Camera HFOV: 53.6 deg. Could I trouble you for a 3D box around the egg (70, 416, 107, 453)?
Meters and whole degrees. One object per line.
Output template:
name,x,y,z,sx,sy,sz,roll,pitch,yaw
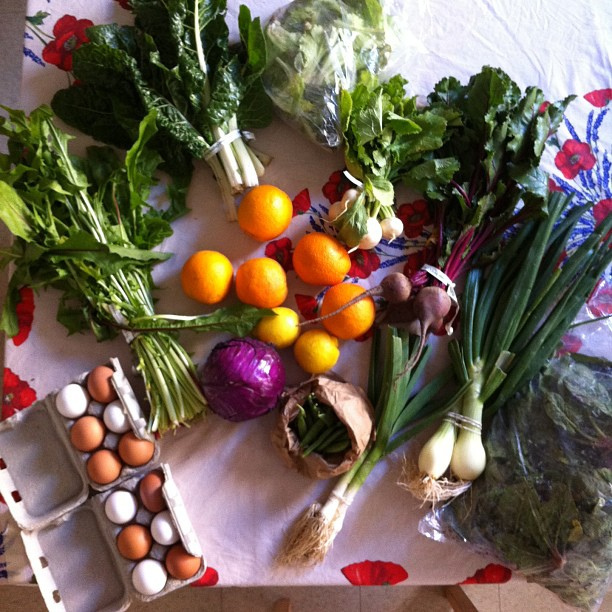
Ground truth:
egg,-0.410,0.241,1.138,0.068,0.065,0.073,0,87,15

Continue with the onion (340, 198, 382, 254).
onion,0.113,-0.152,1.148,0.078,0.071,0.106,8,87,19

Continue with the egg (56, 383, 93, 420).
egg,-0.430,0.178,1.126,0.059,0.053,0.052,-14,54,-31

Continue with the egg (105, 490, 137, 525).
egg,-0.343,0.371,1.124,0.057,0.043,0.052,5,46,-15

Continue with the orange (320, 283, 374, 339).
orange,0.076,0.008,1.155,0.127,0.113,0.110,1,80,8

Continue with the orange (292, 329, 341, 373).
orange,0.017,0.090,1.159,0.094,0.090,0.097,-2,91,-19

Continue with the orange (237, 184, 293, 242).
orange,-0.080,-0.175,1.147,0.102,0.098,0.108,6,90,-10

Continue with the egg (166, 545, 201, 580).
egg,-0.223,0.467,1.104,0.056,0.060,0.054,6,33,13

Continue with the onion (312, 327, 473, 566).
onion,0.138,0.249,1.237,0.223,0.095,0.542,33,84,0

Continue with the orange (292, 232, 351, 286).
orange,0.023,-0.090,1.113,0.086,0.104,0.079,-14,99,0

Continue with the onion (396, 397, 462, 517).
onion,0.248,0.259,1.156,0.090,0.092,0.216,21,83,7

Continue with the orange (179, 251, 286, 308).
orange,-0.131,-0.045,1.108,0.183,0.080,0.094,4,94,7

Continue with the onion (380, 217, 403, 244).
onion,0.160,-0.150,1.190,0.037,0.033,0.045,32,41,21

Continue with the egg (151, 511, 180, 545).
egg,-0.262,0.409,1.110,0.036,0.043,0.054,-21,58,-35

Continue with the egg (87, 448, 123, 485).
egg,-0.374,0.297,1.123,0.056,0.051,0.056,-22,58,-35

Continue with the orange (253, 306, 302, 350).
orange,-0.075,0.051,1.143,0.068,0.062,0.070,-10,76,-15
